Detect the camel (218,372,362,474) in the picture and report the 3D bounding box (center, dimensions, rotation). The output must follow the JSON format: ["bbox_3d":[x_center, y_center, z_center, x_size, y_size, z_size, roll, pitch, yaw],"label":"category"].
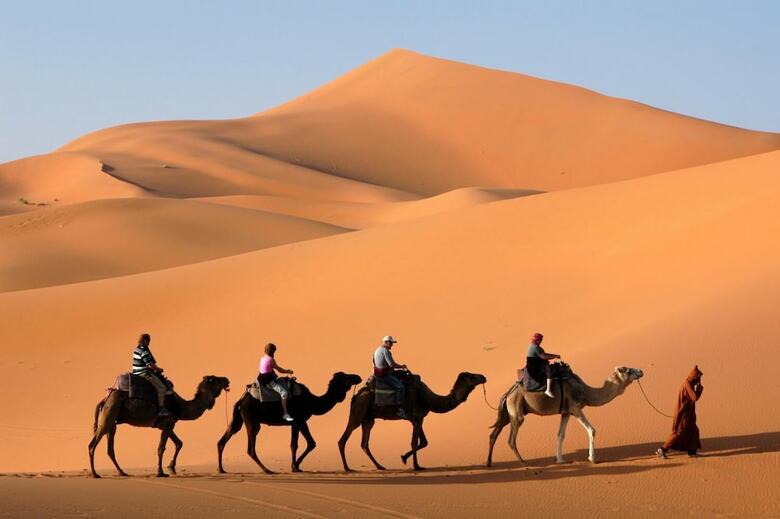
[{"bbox_3d":[-2.491,4.148,26.351,3.985,2.278,0.969,-6,-17,20],"label":"camel"}]

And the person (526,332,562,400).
[{"bbox_3d":[3.708,2.571,25.544,0.743,1.570,1.079,-4,-16,7],"label":"person"}]

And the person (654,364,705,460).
[{"bbox_3d":[6.952,3.642,24.964,1.341,2.101,0.695,5,-7,-26],"label":"person"}]

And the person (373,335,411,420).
[{"bbox_3d":[0.017,2.887,26.086,0.822,1.894,0.958,-2,-16,-2],"label":"person"}]
